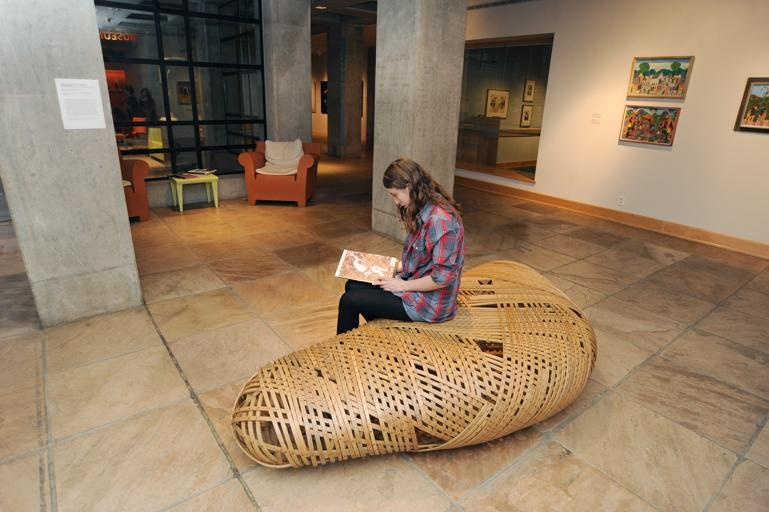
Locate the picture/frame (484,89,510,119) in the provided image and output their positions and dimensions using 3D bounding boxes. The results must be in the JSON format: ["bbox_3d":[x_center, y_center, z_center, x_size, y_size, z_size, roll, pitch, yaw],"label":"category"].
[{"bbox_3d":[2.322,-3.129,9.366,0.641,0.673,0.073,16,28,33],"label":"picture/frame"}]

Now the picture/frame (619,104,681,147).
[{"bbox_3d":[4.173,-2.042,7.127,0.031,0.518,0.770,-17,30,-40],"label":"picture/frame"}]

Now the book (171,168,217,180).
[{"bbox_3d":[-3.225,-1.368,7.738,0.667,0.108,0.592,-7,20,-22],"label":"book"}]

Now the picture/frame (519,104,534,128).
[{"bbox_3d":[2.790,-2.756,9.022,0.055,0.444,0.287,-12,25,-29],"label":"picture/frame"}]

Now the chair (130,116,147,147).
[{"bbox_3d":[-4.117,-2.086,7.665,0.274,0.456,0.171,-11,25,-28],"label":"chair"}]

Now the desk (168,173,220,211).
[{"bbox_3d":[-3.295,-1.110,7.959,0.807,0.435,0.806,13,20,43],"label":"desk"}]

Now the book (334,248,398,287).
[{"bbox_3d":[-0.139,0.092,3.700,0.371,0.076,0.337,9,35,7],"label":"book"}]

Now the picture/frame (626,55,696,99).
[{"bbox_3d":[4.221,-2.716,6.924,0.058,0.553,0.858,-23,34,-37],"label":"picture/frame"}]

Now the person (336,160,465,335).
[{"bbox_3d":[0.148,-0.055,3.527,0.885,1.345,0.391,3,22,6],"label":"person"}]
